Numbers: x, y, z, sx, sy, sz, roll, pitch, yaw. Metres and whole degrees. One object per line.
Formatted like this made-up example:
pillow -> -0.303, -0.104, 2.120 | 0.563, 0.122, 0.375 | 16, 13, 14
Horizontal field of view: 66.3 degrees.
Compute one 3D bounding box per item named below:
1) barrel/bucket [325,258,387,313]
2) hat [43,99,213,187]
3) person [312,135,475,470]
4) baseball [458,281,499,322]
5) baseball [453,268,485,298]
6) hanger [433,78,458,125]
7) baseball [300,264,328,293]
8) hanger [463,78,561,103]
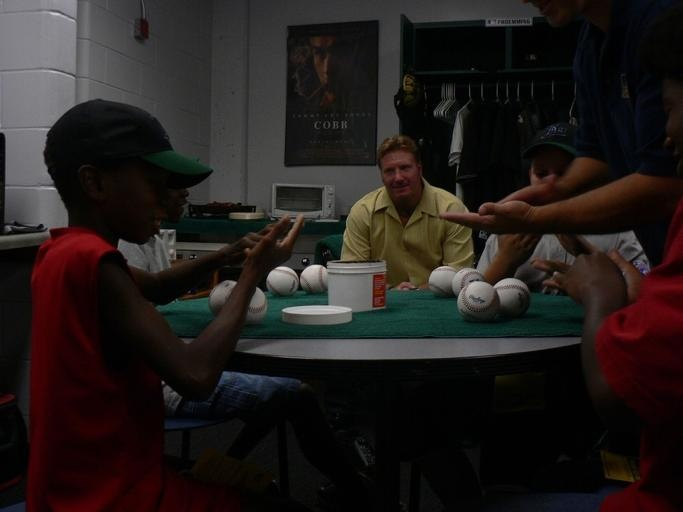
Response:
barrel/bucket -> 0.032, 0.083, 1.523 | 0.142, 0.117, 0.140 | 0, 3, 0
hat -> -0.455, -0.233, 1.132 | 0.287, 0.165, 0.192 | -1, 11, -20
person -> 0.358, -0.118, 3.192 | 0.797, 1.169, 0.765 | -2, -7, 14
baseball -> 0.354, 0.121, 1.403 | 0.098, 0.106, 0.098 | 22, -6, 30
baseball -> 0.404, 0.070, 1.676 | 0.080, 0.101, 0.085 | 19, 8, 10
hanger -> 0.830, -1.239, 4.199 | 0.108, 0.319, 0.329 | 2, 23, 11
baseball -> -0.095, 0.083, 1.892 | 0.089, 0.098, 0.089 | 12, 0, 34
hanger -> 1.396, -1.343, 4.234 | 0.585, 0.274, 0.142 | 0, 1, 6
